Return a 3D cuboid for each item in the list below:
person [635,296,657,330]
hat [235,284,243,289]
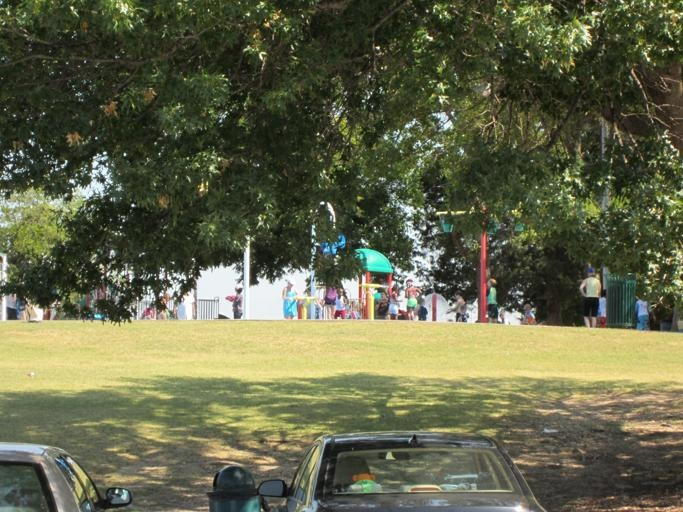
[{"bbox_3d":[9.456,1.784,46.857,0.465,1.212,0.310,-3,25,8],"label":"person"},{"bbox_3d":[-3.887,1.164,56.444,0.341,0.147,0.485,2,-9,-8],"label":"hat"}]
